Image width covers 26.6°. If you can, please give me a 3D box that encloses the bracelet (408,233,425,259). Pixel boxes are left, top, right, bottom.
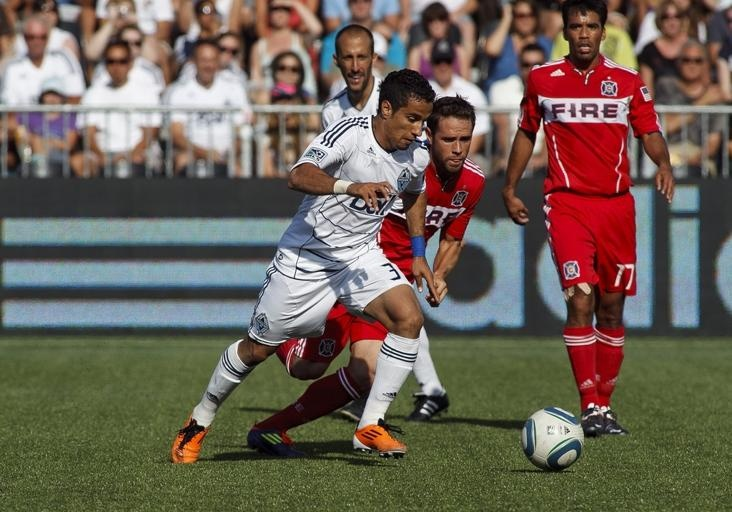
[{"bbox_3d":[0.445,-0.086,13.269,0.145,0.242,0.169,-4,-6,22],"label":"bracelet"}]

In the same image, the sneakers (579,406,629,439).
[{"bbox_3d":[2.070,1.480,13.743,0.225,0.180,0.391,3,-8,-23],"label":"sneakers"}]

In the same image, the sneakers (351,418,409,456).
[{"bbox_3d":[0.132,1.534,12.935,0.566,0.291,0.244,9,-5,39],"label":"sneakers"}]

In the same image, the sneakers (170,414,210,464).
[{"bbox_3d":[-1.491,1.566,13.106,0.246,0.287,0.674,14,14,7],"label":"sneakers"}]

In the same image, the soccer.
[{"bbox_3d":[1.576,1.578,12.994,0.473,0.482,0.471,-10,-27,9],"label":"soccer"}]
